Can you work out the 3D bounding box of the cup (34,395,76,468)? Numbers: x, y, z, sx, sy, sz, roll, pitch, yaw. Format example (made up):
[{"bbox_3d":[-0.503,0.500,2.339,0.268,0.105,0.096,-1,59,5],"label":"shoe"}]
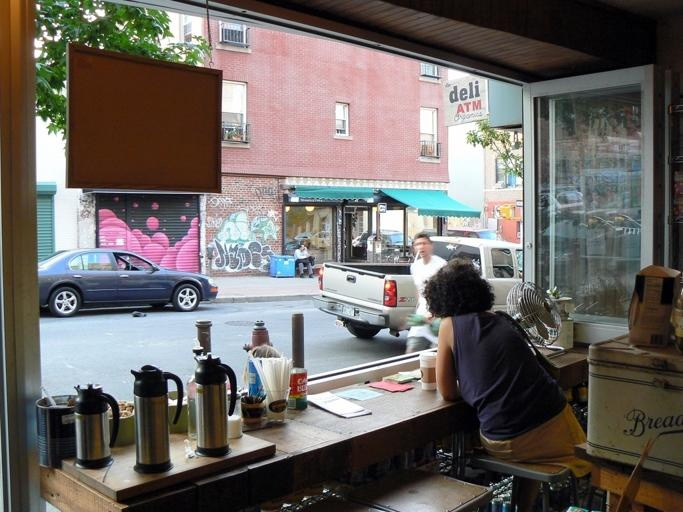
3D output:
[{"bbox_3d":[-1.359,0.824,2.929,0.196,0.301,0.181,9,14,-2],"label":"cup"}]

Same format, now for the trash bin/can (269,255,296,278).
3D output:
[{"bbox_3d":[-1.834,0.320,18.723,0.661,0.673,0.666,-1,2,-30],"label":"trash bin/can"}]

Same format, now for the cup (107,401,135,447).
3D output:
[{"bbox_3d":[-1.105,0.856,3.093,0.152,0.180,0.182,0,3,11],"label":"cup"}]

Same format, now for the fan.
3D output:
[{"bbox_3d":[1.570,0.517,5.035,0.405,0.647,0.601,8,-19,23],"label":"fan"}]

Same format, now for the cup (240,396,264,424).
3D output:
[{"bbox_3d":[-0.496,0.839,3.357,0.132,0.117,0.125,0,1,0],"label":"cup"}]

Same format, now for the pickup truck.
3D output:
[{"bbox_3d":[1.370,0.315,9.372,2.843,1.075,1.554,-6,6,-33],"label":"pickup truck"}]

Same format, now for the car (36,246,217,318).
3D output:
[{"bbox_3d":[-4.377,0.577,12.440,3.540,1.231,1.477,-3,3,-31],"label":"car"}]
